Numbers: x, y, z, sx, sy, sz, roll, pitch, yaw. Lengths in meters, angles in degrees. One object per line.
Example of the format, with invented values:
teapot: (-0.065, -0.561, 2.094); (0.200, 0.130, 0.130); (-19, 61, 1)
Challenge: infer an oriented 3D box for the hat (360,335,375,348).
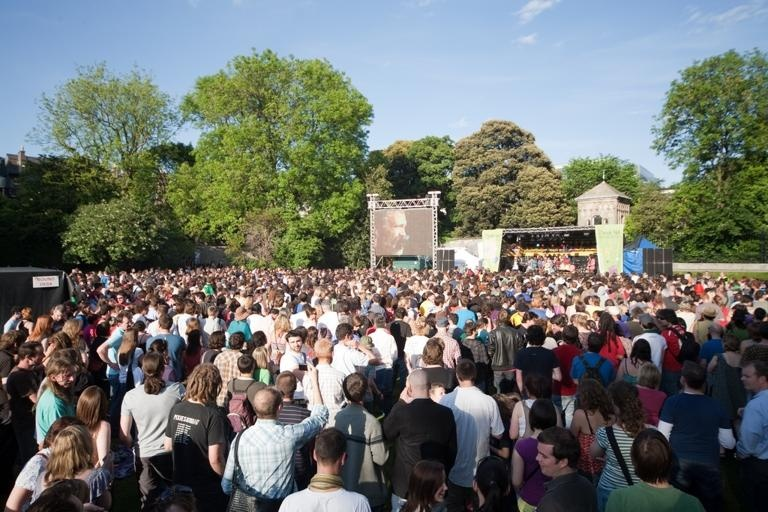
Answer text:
hat: (-0.303, 1.486, 10.352); (0.208, 0.202, 0.267); (-1, -1, -2)

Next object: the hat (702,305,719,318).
hat: (6.339, 1.049, 11.595); (0.290, 0.107, 0.317); (-1, 11, 23)

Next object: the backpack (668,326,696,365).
backpack: (5.461, 1.616, 10.797); (0.528, 0.729, 0.429); (-6, 5, 1)

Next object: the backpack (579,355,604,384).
backpack: (3.271, 1.774, 9.347); (0.321, 0.415, 0.447); (-1, -28, 23)

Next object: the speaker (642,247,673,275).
speaker: (12.604, 0.232, 27.436); (1.179, 1.198, 0.640); (0, -5, 12)

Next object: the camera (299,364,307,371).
camera: (-1.265, 1.756, 9.427); (0.156, 0.107, 0.087); (1, -6, -7)

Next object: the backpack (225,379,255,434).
backpack: (-2.112, 2.224, 8.852); (0.463, 0.688, 0.467); (-7, 9, -9)

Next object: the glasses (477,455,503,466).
glasses: (1.304, 2.487, 7.301); (0.280, 0.081, 0.232); (-2, -2, 9)

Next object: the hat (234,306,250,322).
hat: (-2.849, 1.127, 12.006); (0.277, 0.286, 0.087); (-11, -41, 12)
